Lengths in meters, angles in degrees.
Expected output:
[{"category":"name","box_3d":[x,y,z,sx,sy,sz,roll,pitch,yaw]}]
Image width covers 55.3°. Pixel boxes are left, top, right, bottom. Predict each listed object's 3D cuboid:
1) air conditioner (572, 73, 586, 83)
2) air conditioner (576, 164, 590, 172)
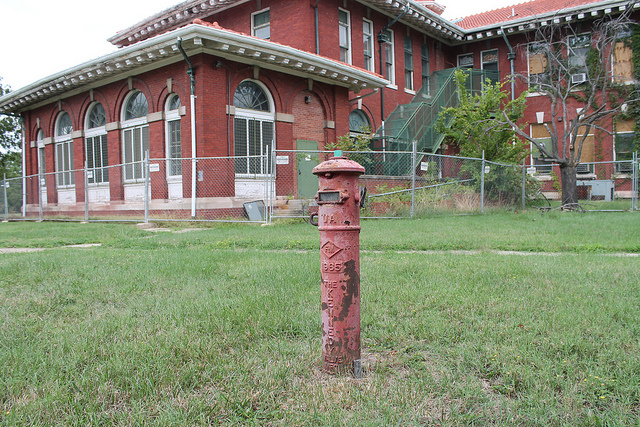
[{"category":"air conditioner","box_3d":[12.597,-6.626,29.727,0.531,0.505,0.612,-1,2,25]},{"category":"air conditioner","box_3d":[12.990,-2.230,30.162,0.566,0.375,0.655,-1,2,27]}]
